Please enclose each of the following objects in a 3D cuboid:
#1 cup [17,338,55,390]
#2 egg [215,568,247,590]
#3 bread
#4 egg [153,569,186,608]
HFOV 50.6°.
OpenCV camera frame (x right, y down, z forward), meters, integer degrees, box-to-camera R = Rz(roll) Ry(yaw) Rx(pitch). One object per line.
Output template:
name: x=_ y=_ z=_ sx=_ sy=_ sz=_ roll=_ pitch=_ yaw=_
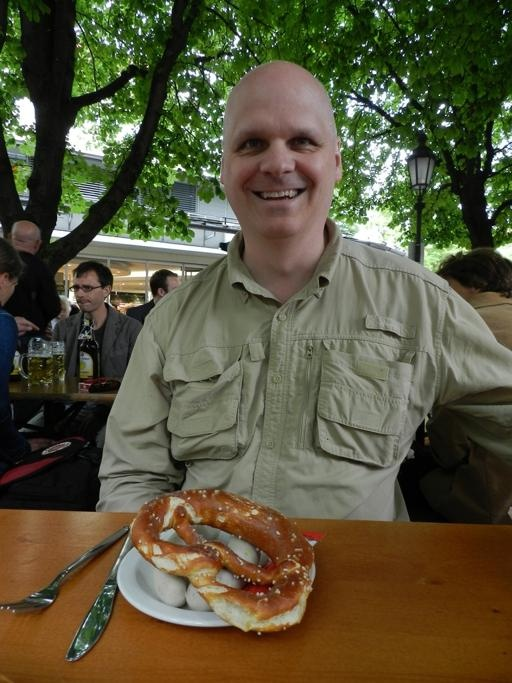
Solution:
cup: x=-1.734 y=0.156 z=4.329 sx=0.320 sy=0.418 sz=0.326 roll=4 pitch=8 yaw=-1
egg: x=-0.042 y=0.370 z=0.846 sx=0.040 sy=0.013 sz=0.039 roll=29 pitch=3 yaw=7
bread: x=-0.009 y=0.301 z=0.895 sx=0.292 sy=0.160 sz=0.337 roll=-2 pitch=3 yaw=-19
egg: x=-0.133 y=0.378 z=0.851 sx=0.061 sy=0.034 sz=0.042 roll=12 pitch=17 yaw=35
